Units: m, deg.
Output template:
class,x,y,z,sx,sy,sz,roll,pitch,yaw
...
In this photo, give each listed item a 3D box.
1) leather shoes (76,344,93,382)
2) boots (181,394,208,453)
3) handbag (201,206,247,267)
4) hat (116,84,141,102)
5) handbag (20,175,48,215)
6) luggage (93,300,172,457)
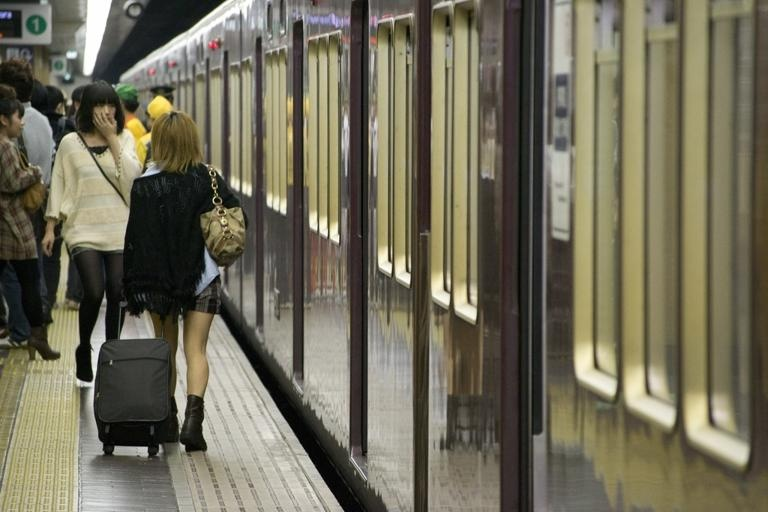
class,x,y,z,sx,sy,sz,roll,pitch,yaw
leather shoes,-2.285,0.782,6.894,0.085,0.224,0.295,11,17,-35
boots,-1.224,1.071,5.898,0.112,0.312,0.315,2,-17,4
handbag,-1.001,-0.176,5.674,0.220,0.353,0.172,-16,14,-12
hat,-2.479,-1.582,8.760,0.192,0.129,0.311,10,8,-8
handbag,-2.737,-0.461,7.031,0.090,0.227,0.151,12,-3,-29
luggage,-1.591,0.953,5.709,0.431,0.413,0.784,-2,55,-10
